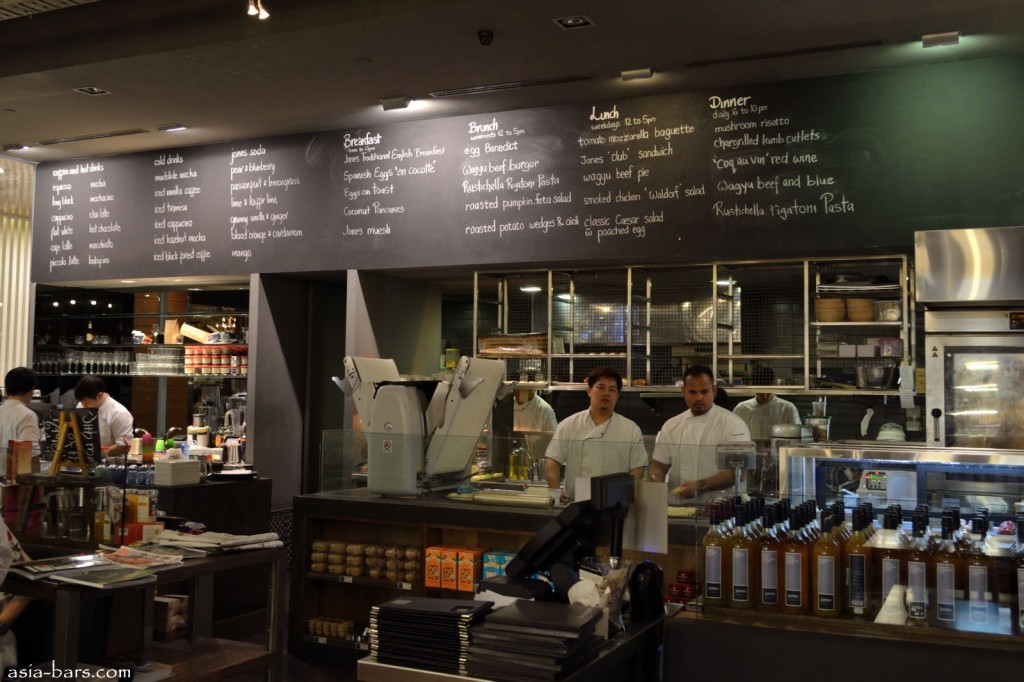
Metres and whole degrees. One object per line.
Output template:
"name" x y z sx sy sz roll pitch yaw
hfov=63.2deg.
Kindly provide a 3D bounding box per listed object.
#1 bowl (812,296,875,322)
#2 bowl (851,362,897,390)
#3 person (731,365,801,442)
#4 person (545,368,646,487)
"bowl" 2.331 -0.222 5.844 0.295 0.106 0.189 0 -3 20
"bowl" 2.526 0.245 5.822 0.206 0.124 0.211 2 -4 0
"person" 2.027 0.605 6.723 0.539 0.208 0.922 7 -29 18
"person" 0.462 0.568 4.545 0.587 0.802 0.470 6 -10 -7
